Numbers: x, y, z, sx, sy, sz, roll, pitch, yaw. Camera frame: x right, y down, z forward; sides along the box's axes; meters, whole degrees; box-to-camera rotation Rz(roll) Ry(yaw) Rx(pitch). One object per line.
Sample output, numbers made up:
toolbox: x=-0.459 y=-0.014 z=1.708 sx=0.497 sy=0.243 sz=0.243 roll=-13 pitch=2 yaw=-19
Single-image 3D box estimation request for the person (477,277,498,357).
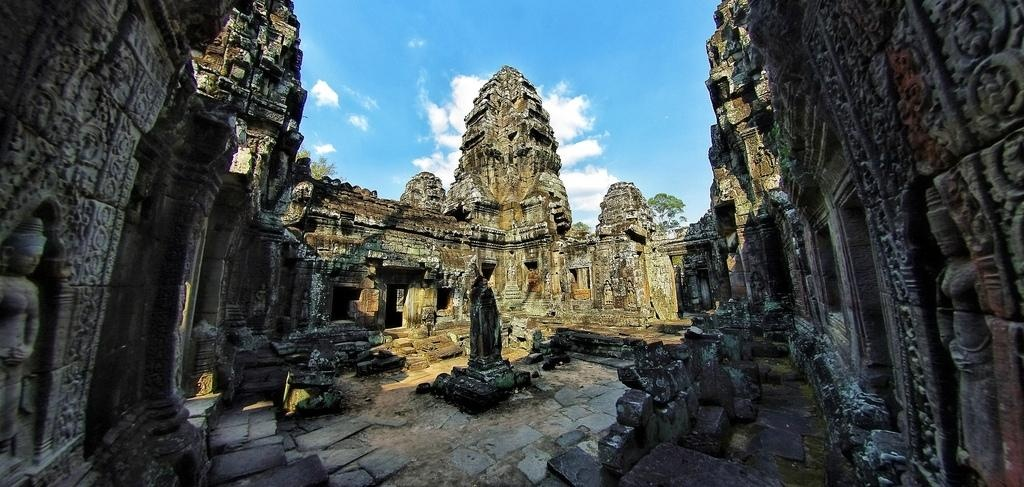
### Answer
person: x=-0.447 y=1.478 z=9.603 sx=0.417 sy=1.605 sz=0.550 roll=-1 pitch=-14 yaw=-1
